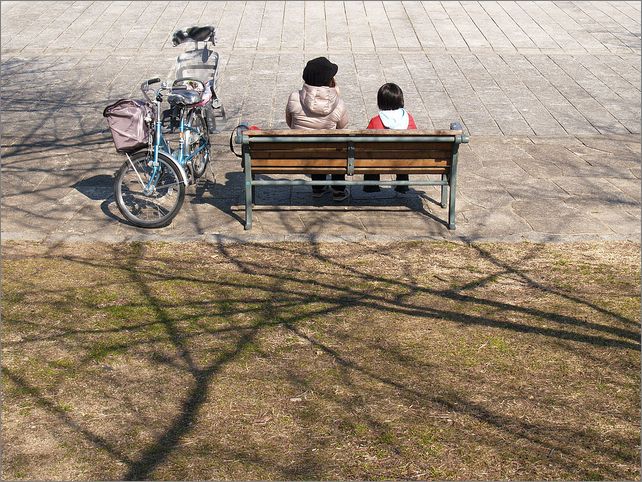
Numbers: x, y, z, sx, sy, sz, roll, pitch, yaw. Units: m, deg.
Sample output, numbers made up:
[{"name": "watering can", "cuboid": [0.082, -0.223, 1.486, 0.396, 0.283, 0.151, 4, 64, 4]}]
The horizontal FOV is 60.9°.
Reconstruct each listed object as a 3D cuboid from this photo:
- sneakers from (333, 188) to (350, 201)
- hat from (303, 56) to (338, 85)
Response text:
[{"name": "sneakers", "cuboid": [0.272, -0.596, 7.207, 0.127, 0.097, 0.289, 13, 22, 29]}, {"name": "hat", "cuboid": [0.007, -2.036, 6.669, 0.393, 0.203, 0.387, 10, 57, 17]}]
